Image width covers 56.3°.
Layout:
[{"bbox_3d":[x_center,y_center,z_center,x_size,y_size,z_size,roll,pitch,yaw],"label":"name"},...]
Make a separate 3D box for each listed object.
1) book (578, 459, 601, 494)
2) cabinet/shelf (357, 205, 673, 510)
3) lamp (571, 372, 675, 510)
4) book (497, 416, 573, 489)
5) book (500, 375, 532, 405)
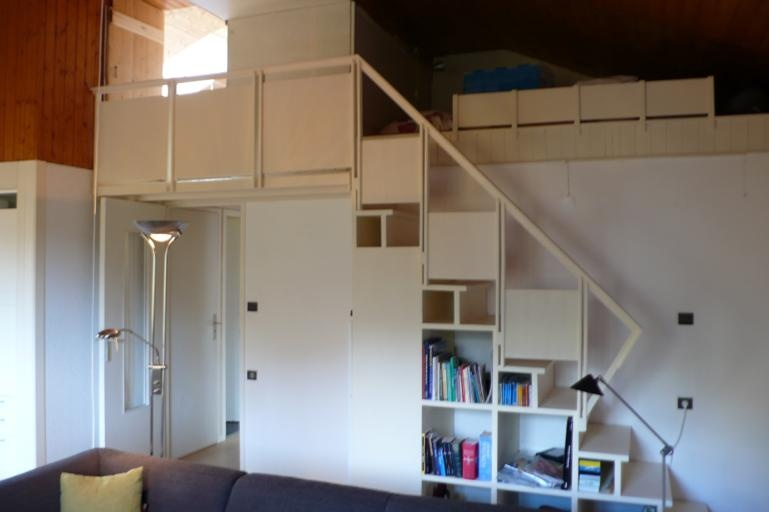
[{"bbox_3d":[1.736,1.842,6.036,0.233,0.334,0.243,-1,-5,16],"label":"book"},{"bbox_3d":[1.197,0.922,6.322,2.619,2.634,0.831,0,1,17],"label":"cabinet/shelf"},{"bbox_3d":[2.029,1.516,5.988,0.757,1.086,1.267,1,-5,22],"label":"lamp"},{"bbox_3d":[1.336,1.812,6.287,0.519,0.522,0.759,2,-10,13],"label":"book"},{"bbox_3d":[1.129,1.164,6.274,0.296,0.301,0.218,1,-7,-4],"label":"book"}]
